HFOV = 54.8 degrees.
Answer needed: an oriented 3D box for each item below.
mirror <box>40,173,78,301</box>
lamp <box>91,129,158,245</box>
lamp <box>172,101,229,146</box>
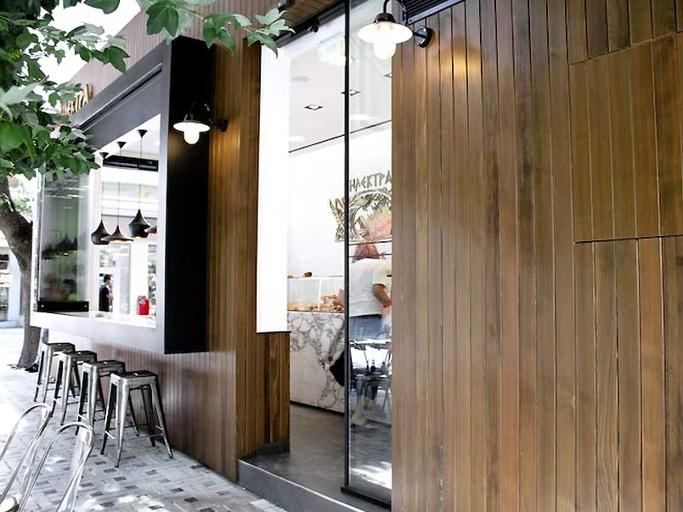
[{"bbox_3d":[-3.726,-0.247,8.753,0.458,1.964,0.086,-3,33,-32],"label":"mirror"},{"bbox_3d":[-3.234,-1.063,9.841,1.285,1.951,0.511,0,-2,11],"label":"lamp"},{"bbox_3d":[-1.101,-1.044,5.185,0.387,0.319,0.284,9,-4,-15],"label":"lamp"}]
